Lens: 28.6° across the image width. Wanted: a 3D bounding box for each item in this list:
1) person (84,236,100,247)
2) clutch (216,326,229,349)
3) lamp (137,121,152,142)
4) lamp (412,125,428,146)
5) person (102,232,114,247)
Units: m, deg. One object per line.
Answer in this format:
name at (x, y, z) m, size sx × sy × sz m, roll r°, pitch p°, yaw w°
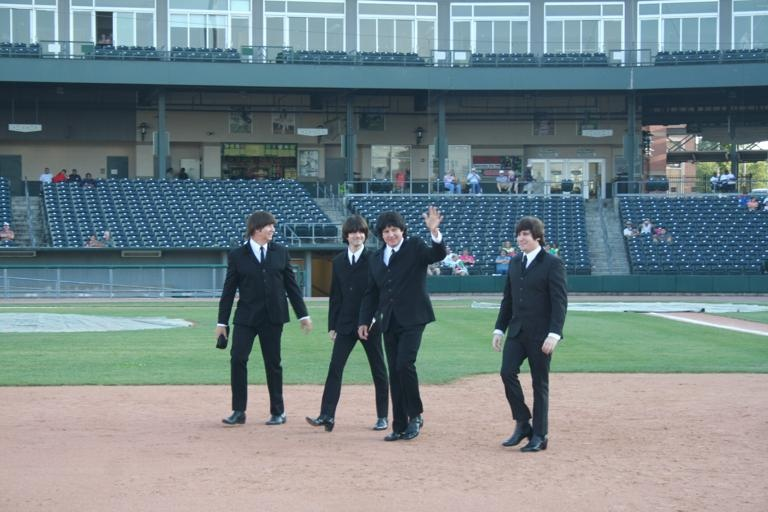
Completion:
person at (-13.463, -0.731, 69.912) m, size 0.717 × 0.509 × 0.810 m, roll -1°, pitch 5°, yaw -11°
clutch at (-5.316, 2.610, 49.017) m, size 0.416 × 0.702 × 0.170 m, roll 19°, pitch -5°, yaw -41°
lamp at (-12.667, -6.584, 79.468) m, size 1.129 × 1.408 × 0.297 m, roll 1°, pitch -9°, yaw -7°
lamp at (1.908, -6.585, 81.929) m, size 0.923 × 1.035 × 0.912 m, roll -2°, pitch -1°, yaw 24°
person at (-12.889, -0.861, 70.278) m, size 0.477 × 0.670 × 1.058 m, roll -1°, pitch 5°, yaw -10°
